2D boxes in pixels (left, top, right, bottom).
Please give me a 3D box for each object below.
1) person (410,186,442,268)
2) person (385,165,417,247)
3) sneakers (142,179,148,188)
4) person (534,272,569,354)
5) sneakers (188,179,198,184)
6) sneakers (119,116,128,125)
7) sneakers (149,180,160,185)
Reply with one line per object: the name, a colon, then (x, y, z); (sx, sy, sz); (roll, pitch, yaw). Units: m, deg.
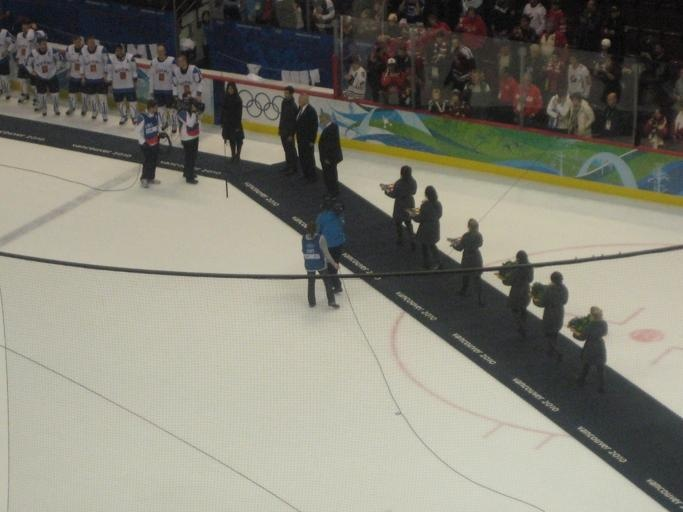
person: (1.296, -0.450, 14.911); (0.494, 1.315, 0.355); (8, 17, 22)
person: (1.003, -0.823, 15.405); (0.342, 1.240, 0.807); (-8, 19, -31)
sneakers: (-3.707, -1.367, 18.300); (0.108, 0.146, 0.151); (-9, -5, -6)
person: (2.711, 0.747, 12.750); (0.457, 1.135, 0.186); (4, 16, 8)
sneakers: (-2.817, -1.413, 18.297); (0.134, 0.054, 0.075); (-3, 28, 6)
sneakers: (-4.689, -2.925, 20.761); (0.084, 0.121, 0.252); (3, 29, 4)
sneakers: (-3.542, -1.401, 18.351); (0.174, 0.085, 0.079); (-1, 16, -12)
